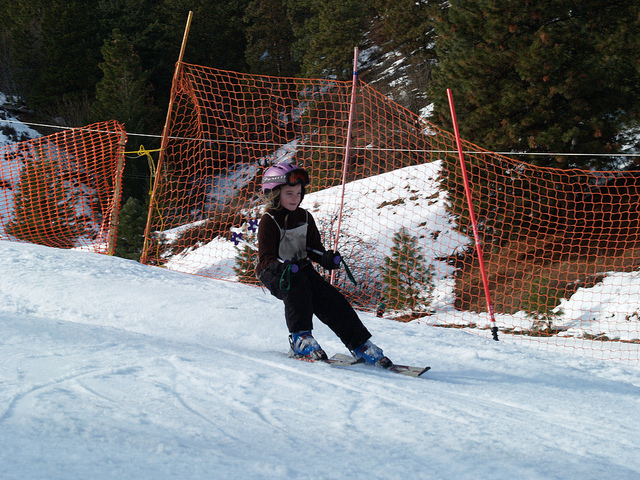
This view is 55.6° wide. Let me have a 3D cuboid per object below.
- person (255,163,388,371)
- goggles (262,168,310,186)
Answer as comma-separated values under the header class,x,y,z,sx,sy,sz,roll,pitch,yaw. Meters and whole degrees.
class,x,y,z,sx,sy,sz,roll,pitch,yaw
person,-0.066,0.163,4.806,0.690,1.407,1.024,6,11,-35
goggles,-0.257,-0.498,4.861,0.293,0.066,0.187,-4,-2,26
